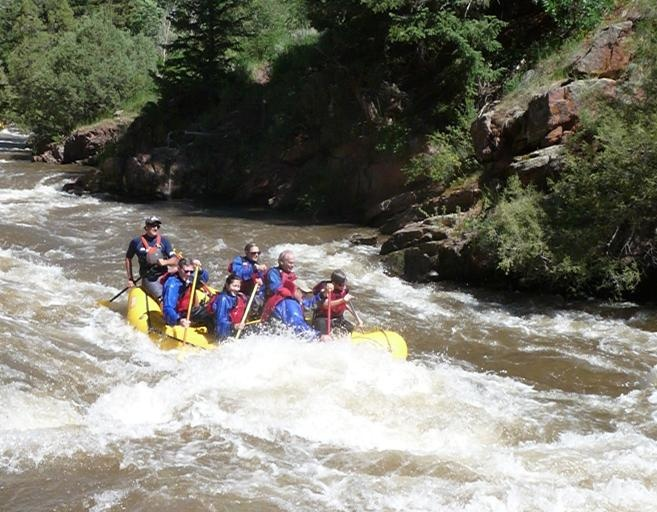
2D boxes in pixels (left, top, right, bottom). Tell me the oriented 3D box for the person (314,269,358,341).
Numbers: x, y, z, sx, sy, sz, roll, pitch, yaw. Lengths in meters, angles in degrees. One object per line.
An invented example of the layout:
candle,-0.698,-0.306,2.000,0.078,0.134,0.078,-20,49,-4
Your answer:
person,0.130,0.984,15.564,0.731,1.476,0.764,10,-31,-28

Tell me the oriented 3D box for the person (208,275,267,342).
person,-1.815,0.945,14.886,0.825,1.201,0.697,7,7,-8

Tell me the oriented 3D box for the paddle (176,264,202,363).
paddle,-2.575,0.938,14.925,0.181,1.785,0.191,22,-39,-20

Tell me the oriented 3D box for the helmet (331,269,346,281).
helmet,0.185,0.356,15.168,0.243,0.212,0.352,8,7,-2
